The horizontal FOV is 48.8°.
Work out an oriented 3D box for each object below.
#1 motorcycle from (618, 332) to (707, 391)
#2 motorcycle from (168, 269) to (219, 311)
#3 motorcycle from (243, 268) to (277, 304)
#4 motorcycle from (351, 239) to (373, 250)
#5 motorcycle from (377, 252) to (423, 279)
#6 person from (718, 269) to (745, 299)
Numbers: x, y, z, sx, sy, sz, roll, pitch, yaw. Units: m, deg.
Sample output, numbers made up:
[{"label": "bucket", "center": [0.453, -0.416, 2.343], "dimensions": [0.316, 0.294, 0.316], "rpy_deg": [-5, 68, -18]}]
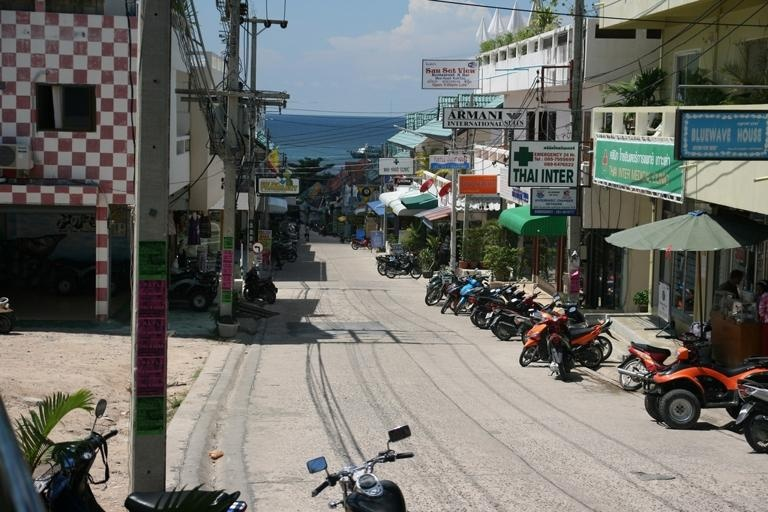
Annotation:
[{"label": "motorcycle", "center": [5.531, 2.118, 16.783], "dimensions": [1.935, 1.324, 1.051], "rpy_deg": [-4, 10, -16]}, {"label": "motorcycle", "center": [-6.149, 1.081, 27.658], "dimensions": [1.607, 1.056, 1.022], "rpy_deg": [4, 0, -2]}, {"label": "motorcycle", "center": [-4.463, 0.979, 29.857], "dimensions": [1.496, 1.141, 0.705], "rpy_deg": [0, 2, 11]}, {"label": "motorcycle", "center": [-1.611, -0.880, 60.238], "dimensions": [1.397, 0.907, 0.686], "rpy_deg": [-1, 3, -19]}, {"label": "motorcycle", "center": [0.743, 0.447, 41.411], "dimensions": [2.071, 1.008, 1.691], "rpy_deg": [0, 5, -1]}, {"label": "person", "center": [8.120, 0.648, 19.782], "dimensions": [0.409, 0.747, 0.456], "rpy_deg": [11, 13, -2]}]
